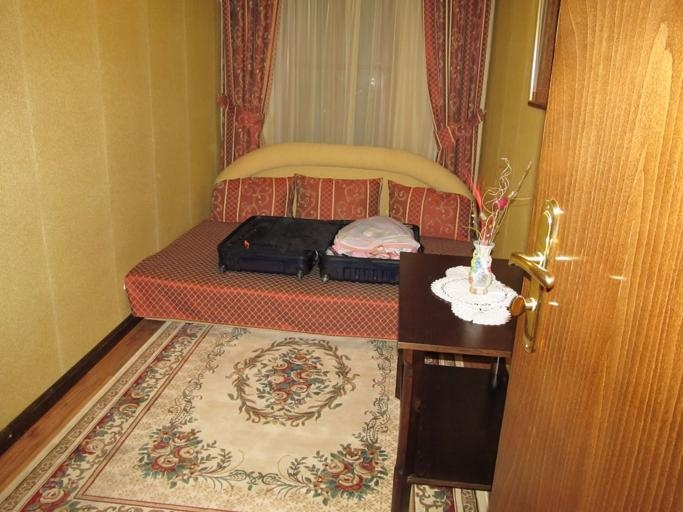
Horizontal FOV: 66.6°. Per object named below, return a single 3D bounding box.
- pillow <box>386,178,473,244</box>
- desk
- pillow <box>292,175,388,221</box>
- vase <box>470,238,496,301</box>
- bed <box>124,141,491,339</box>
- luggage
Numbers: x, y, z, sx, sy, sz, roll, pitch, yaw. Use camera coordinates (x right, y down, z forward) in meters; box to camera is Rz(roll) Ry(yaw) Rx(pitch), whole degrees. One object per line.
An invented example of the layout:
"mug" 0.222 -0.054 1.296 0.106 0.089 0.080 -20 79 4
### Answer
"pillow" 0.780 -0.386 4.347 0.734 0.509 0.237 8 40 16
"desk" 0.480 0.510 2.065 0.597 0.799 0.825 6 30 8
"pillow" -0.023 -0.440 4.441 0.742 0.477 0.229 1 -23 1
"vase" 0.634 0.048 2.353 0.106 0.253 0.109 6 9 30
"bed" -0.324 -0.239 3.966 1.917 0.903 1.635 8 35 -4
"luggage" -0.246 -0.009 3.530 0.977 0.186 0.652 5 30 7
